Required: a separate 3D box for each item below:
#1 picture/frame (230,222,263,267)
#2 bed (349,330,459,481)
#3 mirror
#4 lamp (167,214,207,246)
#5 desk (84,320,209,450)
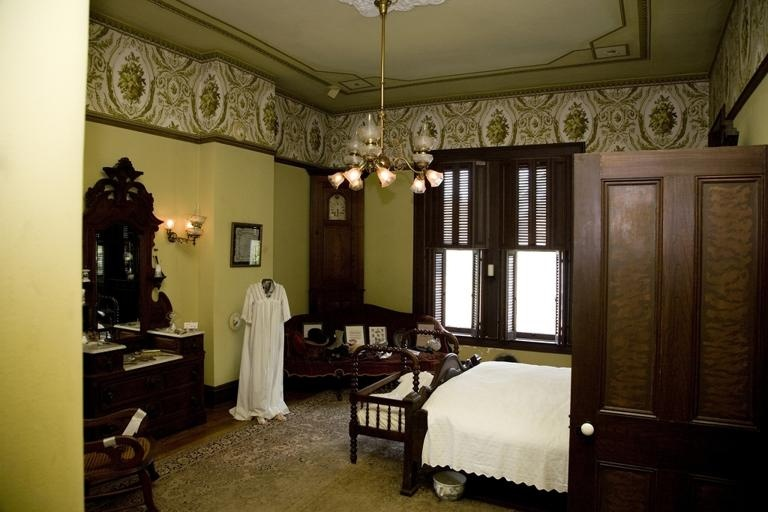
[{"bbox_3d":[-1.545,-0.128,6.256,0.052,0.528,0.480,-1,-2,31],"label":"picture/frame"},{"bbox_3d":[0.176,1.244,5.130,0.734,0.898,1.284,-1,-5,22],"label":"bed"},{"bbox_3d":[-2.462,-0.068,5.329,0.216,1.710,0.888,4,8,24],"label":"mirror"},{"bbox_3d":[-2.054,-0.264,5.865,0.277,0.285,0.357,-4,-5,29],"label":"lamp"},{"bbox_3d":[-2.287,1.187,5.291,0.549,1.009,1.052,5,8,36],"label":"desk"}]
